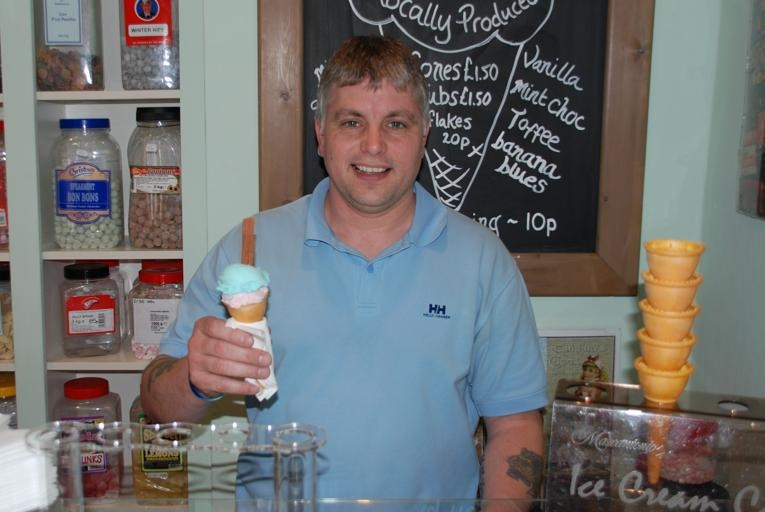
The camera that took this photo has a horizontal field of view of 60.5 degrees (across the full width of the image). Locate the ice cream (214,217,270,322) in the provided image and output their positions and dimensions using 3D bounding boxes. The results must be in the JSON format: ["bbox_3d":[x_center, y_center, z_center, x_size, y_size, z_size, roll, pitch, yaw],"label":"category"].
[{"bbox_3d":[-0.405,0.079,1.869,0.136,0.425,0.142,0,4,3],"label":"ice cream"}]

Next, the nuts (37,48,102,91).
[{"bbox_3d":[-1.301,-0.759,2.745,0.210,0.178,0.219,3,11,1],"label":"nuts"}]

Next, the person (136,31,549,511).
[{"bbox_3d":[-0.012,0.142,2.624,1.330,1.664,1.179,9,12,0],"label":"person"}]

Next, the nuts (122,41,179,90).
[{"bbox_3d":[-0.956,-0.781,2.723,0.200,0.202,0.158,0,2,1],"label":"nuts"}]

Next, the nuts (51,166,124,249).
[{"bbox_3d":[-1.234,-0.204,2.755,0.219,0.358,0.207,1,4,-6],"label":"nuts"}]
